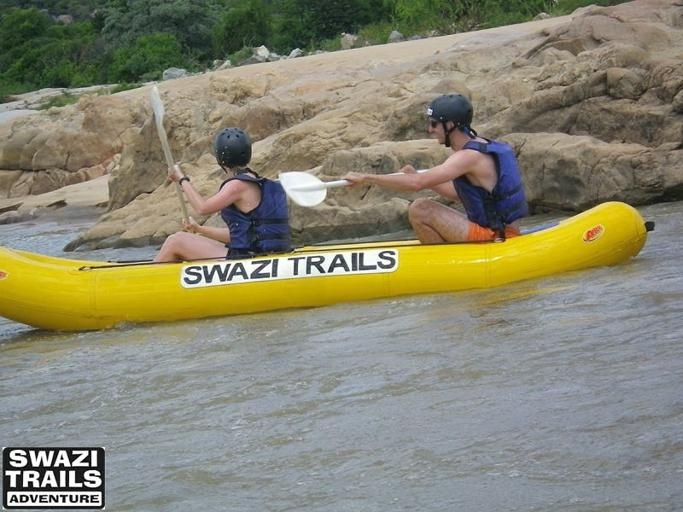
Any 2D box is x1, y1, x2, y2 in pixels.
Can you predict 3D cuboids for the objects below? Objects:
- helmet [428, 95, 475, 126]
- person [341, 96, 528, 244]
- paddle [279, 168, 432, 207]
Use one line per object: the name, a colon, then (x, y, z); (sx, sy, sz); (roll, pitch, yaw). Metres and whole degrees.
helmet: (0.920, -1.265, 8.611); (0.400, 0.221, 0.265); (-9, 21, -3)
person: (0.960, -0.723, 8.641); (1.246, 1.308, 0.612); (-1, 21, 7)
paddle: (0.134, -0.670, 9.056); (1.354, 0.092, 0.400); (-9, 46, -20)
